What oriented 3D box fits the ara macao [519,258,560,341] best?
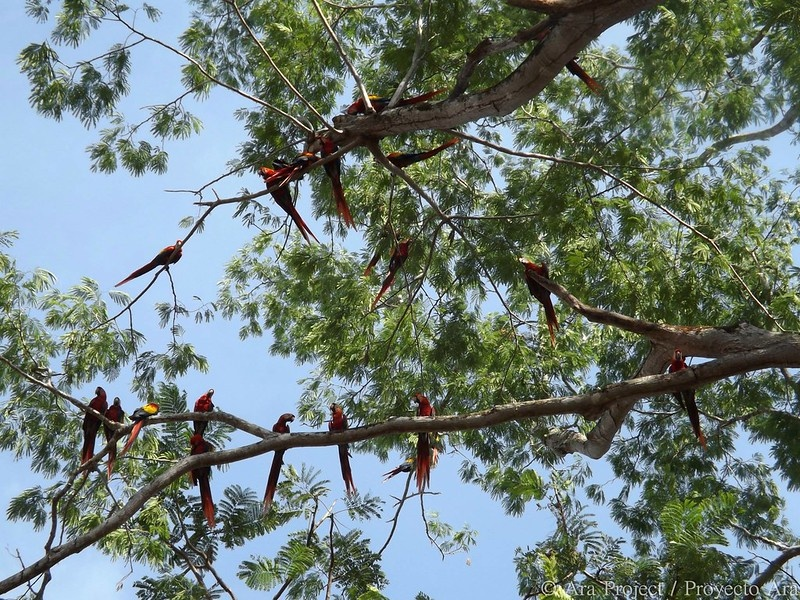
[{"bbox_3d":[1.435,-0.032,12.505,0.259,0.221,0.922,-11,-73,51],"label":"ara macao"}]

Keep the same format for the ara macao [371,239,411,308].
[{"bbox_3d":[-0.114,-0.331,13.848,0.159,0.208,0.783,35,-99,-38],"label":"ara macao"}]
